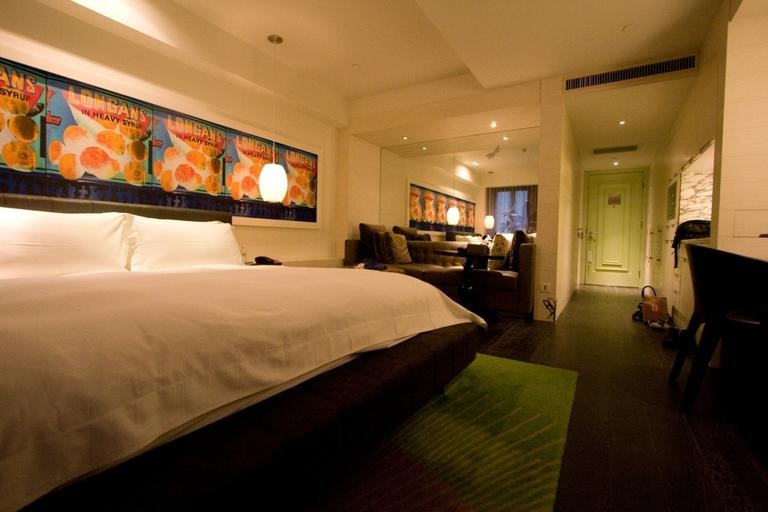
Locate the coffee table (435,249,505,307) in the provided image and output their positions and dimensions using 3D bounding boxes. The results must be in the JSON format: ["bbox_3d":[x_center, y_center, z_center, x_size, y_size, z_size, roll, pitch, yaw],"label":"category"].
[{"bbox_3d":[1.052,0.184,5.458,0.686,0.692,0.708,10,9,42],"label":"coffee table"}]

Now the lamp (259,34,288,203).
[{"bbox_3d":[-1.205,-1.431,5.177,0.287,1.674,0.644,1,5,-15],"label":"lamp"}]

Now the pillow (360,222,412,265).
[{"bbox_3d":[-0.034,-0.132,6.582,0.555,0.593,0.200,4,-4,-5],"label":"pillow"}]
